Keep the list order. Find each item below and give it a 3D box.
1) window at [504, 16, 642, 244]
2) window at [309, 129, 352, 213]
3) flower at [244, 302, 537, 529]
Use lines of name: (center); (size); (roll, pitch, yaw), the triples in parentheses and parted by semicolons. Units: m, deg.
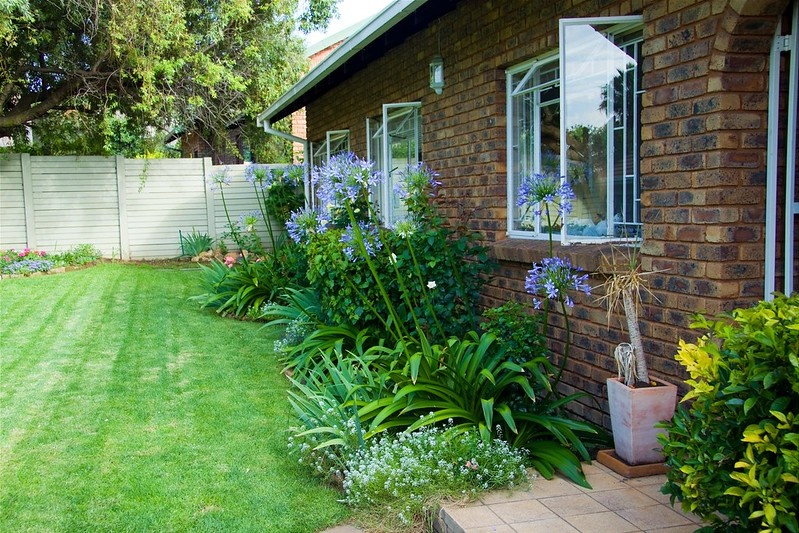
window: (1.715, -1.157, 5.105); (0.613, 1.776, 1.801); (-7, 9, -20)
window: (-1.646, -1.657, 11.432); (0.673, 1.997, 1.964); (2, 2, -21)
flower: (-0.337, 1.223, 4.631); (1.252, 0.662, 2.857); (-7, 13, -31)
